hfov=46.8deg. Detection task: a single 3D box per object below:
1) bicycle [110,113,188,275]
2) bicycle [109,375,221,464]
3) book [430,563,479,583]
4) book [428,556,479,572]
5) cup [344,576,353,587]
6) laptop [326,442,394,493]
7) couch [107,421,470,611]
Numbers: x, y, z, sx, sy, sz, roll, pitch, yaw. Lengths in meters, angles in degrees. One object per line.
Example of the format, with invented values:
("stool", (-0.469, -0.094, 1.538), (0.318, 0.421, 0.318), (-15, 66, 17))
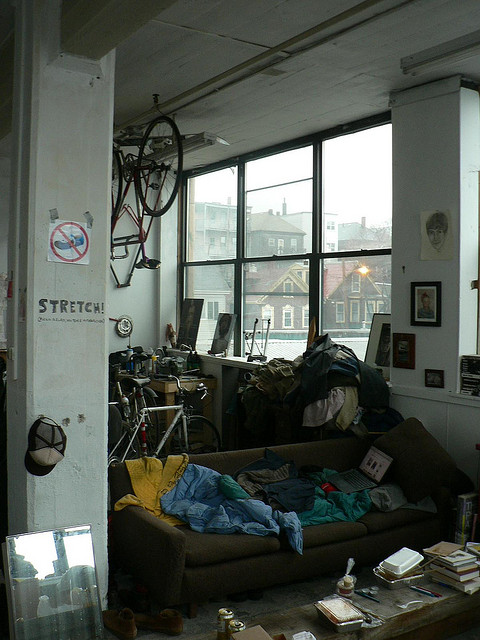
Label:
("bicycle", (-0.871, -1.484, 6.562), (0.894, 1.137, 1.960), (2, 2, -25))
("bicycle", (-0.825, 0.925, 5.602), (1.144, 0.734, 1.201), (7, -12, -29))
("book", (1.111, 1.305, 2.862), (0.124, 0.029, 0.121), (7, -5, -38))
("book", (1.097, 1.271, 2.889), (0.114, 0.026, 0.112), (5, -2, -38))
("cup", (0.529, 1.282, 2.731), (0.038, 0.028, 0.038), (0, 1, 0))
("laptop", (0.836, 1.043, 3.928), (0.382, 0.229, 0.350), (-1, 5, -20))
("couch", (0.367, 1.171, 3.539), (2.160, 0.796, 0.672), (2, 4, -30))
